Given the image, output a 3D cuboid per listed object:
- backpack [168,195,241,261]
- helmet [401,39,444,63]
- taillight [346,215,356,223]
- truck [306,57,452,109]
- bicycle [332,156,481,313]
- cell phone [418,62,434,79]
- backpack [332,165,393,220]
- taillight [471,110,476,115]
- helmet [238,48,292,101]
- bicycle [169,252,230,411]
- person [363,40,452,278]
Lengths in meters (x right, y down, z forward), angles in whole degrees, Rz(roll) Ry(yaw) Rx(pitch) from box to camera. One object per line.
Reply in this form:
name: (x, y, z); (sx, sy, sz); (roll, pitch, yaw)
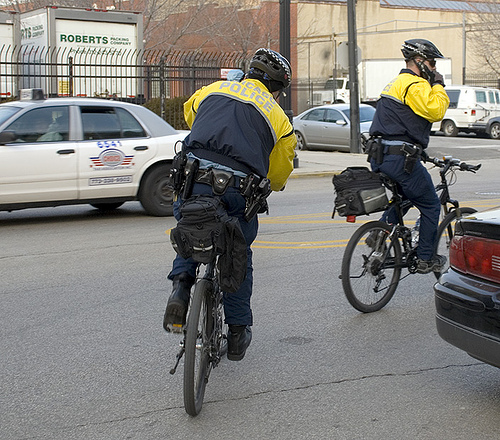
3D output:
backpack: (-0.219, 0.052, 2.574); (0.414, 0.333, 0.204); (-8, 14, 13)
helmet: (1.590, -1.570, 4.638); (0.431, 0.183, 0.256); (6, 12, 14)
taillight: (0.901, -0.007, 4.358); (0.074, 0.057, 0.069); (5, -1, -35)
truck: (8.962, -9.196, 34.795); (9.796, 3.837, 3.019); (-7, 17, -12)
bicycle: (1.439, 0.119, 4.708); (1.585, 1.415, 0.576); (-7, 12, -38)
cell phone: (1.656, -1.395, 4.623); (0.067, 0.165, 0.127); (-43, 12, 1)
backpack: (0.967, -0.270, 4.478); (0.573, 0.384, 0.417); (-15, 14, -31)
taillight: (12.457, -5.910, 27.194); (0.242, 0.240, 0.061); (0, 10, 1)
helmet: (0.091, -0.880, 2.974); (0.318, 0.319, 0.266); (0, 9, 0)
bicycle: (-0.290, 0.605, 2.842); (0.372, 0.957, 0.970); (-1, 9, -7)
person: (1.502, -0.573, 4.637); (0.761, 2.196, 0.444); (3, 10, 18)
